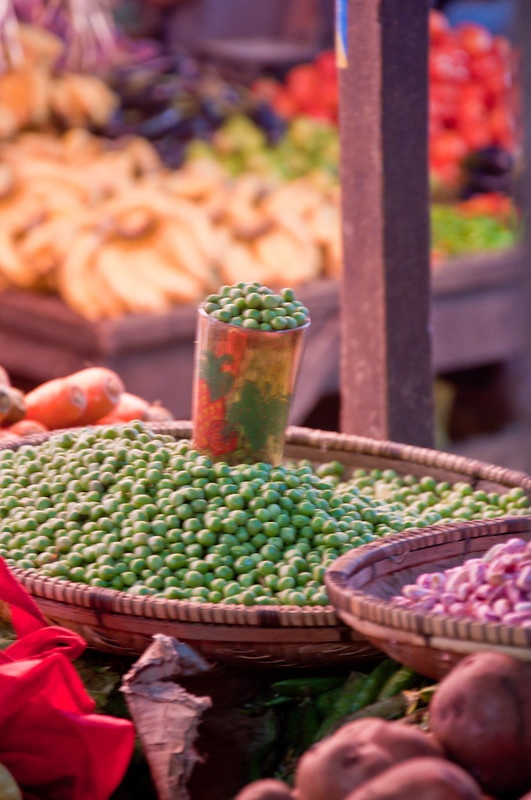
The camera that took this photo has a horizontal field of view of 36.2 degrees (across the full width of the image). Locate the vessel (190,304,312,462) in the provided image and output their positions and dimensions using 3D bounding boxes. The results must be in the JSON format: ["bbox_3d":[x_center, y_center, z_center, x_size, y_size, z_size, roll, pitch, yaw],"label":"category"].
[{"bbox_3d":[-0.041,-0.036,1.738,0.218,0.297,0.198,8,20,4],"label":"vessel"}]
